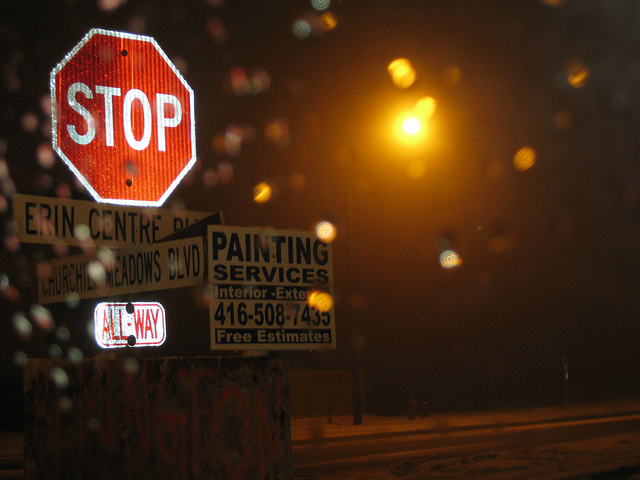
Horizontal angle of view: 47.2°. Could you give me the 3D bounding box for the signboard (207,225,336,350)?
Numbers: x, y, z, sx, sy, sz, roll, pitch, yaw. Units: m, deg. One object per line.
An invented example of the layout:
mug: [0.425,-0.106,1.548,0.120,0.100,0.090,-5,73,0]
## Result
signboard: [-0.672,0.647,9.498,1.340,1.551,0.153,0,-8,-16]
